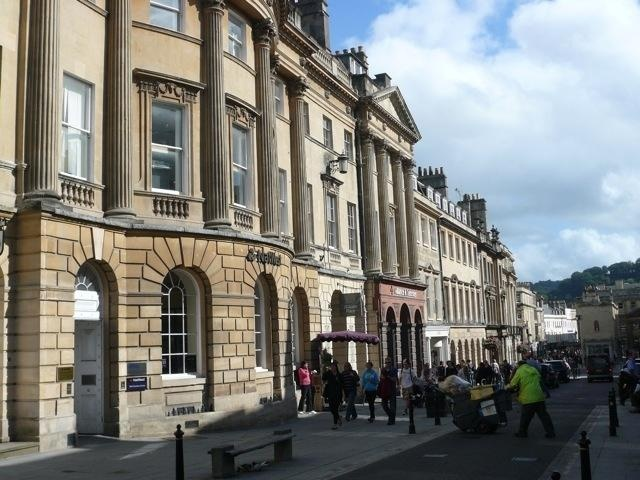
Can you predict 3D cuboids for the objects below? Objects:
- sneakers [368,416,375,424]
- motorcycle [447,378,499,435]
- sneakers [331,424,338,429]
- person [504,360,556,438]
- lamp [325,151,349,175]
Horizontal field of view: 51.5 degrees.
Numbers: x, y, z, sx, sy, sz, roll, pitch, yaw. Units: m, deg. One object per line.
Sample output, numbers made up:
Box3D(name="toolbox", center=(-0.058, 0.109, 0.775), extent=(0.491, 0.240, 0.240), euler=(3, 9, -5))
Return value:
Box3D(name="sneakers", center=(1.761, 6.257, 23.192), extent=(0.313, 0.245, 0.105), euler=(-9, -8, 44))
Box3D(name="motorcycle", center=(4.548, 4.858, 19.475), extent=(1.268, 1.402, 1.246), euler=(-8, -6, 15))
Box3D(name="sneakers", center=(0.487, 5.940, 21.088), extent=(0.088, 0.190, 0.256), euler=(-13, -29, 32))
Box3D(name="person", center=(5.744, 4.313, 18.255), extent=(1.008, 2.151, 0.884), euler=(-11, -20, 26))
Box3D(name="lamp", center=(1.036, -3.843, 33.871), extent=(1.163, 1.194, 0.917), euler=(-18, -22, 39))
